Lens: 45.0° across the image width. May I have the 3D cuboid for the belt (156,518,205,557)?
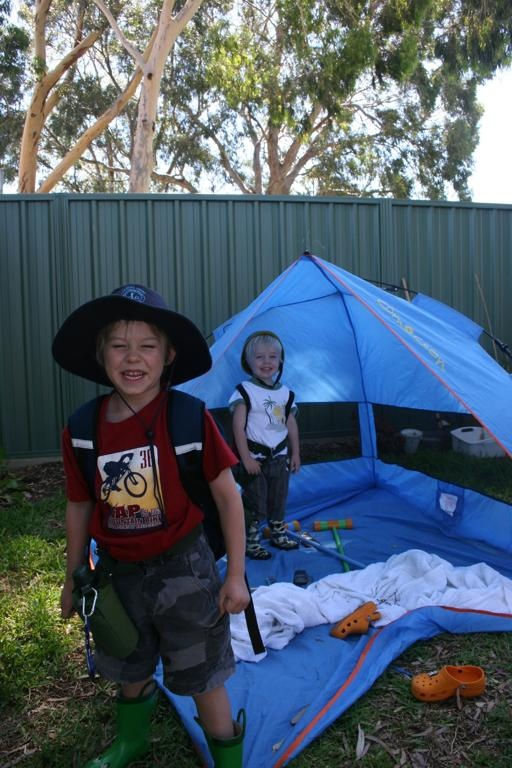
[{"bbox_3d":[-0.187,0.374,1.533,0.091,0.061,0.065,-21,-1,-38],"label":"belt"}]

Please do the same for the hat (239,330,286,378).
[{"bbox_3d":[0.024,-0.164,3.433,0.249,0.271,0.201,1,-4,41],"label":"hat"}]

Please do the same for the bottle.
[{"bbox_3d":[-0.361,0.568,1.494,0.140,0.257,0.111,-2,7,1],"label":"bottle"}]

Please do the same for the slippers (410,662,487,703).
[{"bbox_3d":[0.638,0.971,2.029,0.200,0.083,0.112,0,19,4],"label":"slippers"}]

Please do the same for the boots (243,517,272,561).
[{"bbox_3d":[-0.027,0.845,3.339,0.086,0.188,0.256,0,-6,-11],"label":"boots"}]

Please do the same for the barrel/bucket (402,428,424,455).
[{"bbox_3d":[1.060,0.376,4.134,0.147,0.147,0.167,-4,-1,21],"label":"barrel/bucket"}]

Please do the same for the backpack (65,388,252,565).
[{"bbox_3d":[-0.281,0.221,1.548,0.410,0.404,0.223,-5,12,-1],"label":"backpack"}]

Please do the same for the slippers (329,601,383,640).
[{"bbox_3d":[0.397,0.934,2.434,0.119,0.029,0.117,-28,-1,-23],"label":"slippers"}]

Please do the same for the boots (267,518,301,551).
[{"bbox_3d":[0.129,0.835,3.447,0.218,0.165,0.090,-4,-1,33],"label":"boots"}]

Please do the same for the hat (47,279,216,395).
[{"bbox_3d":[-0.324,-0.170,1.589,0.333,0.131,0.302,-6,-18,6],"label":"hat"}]
